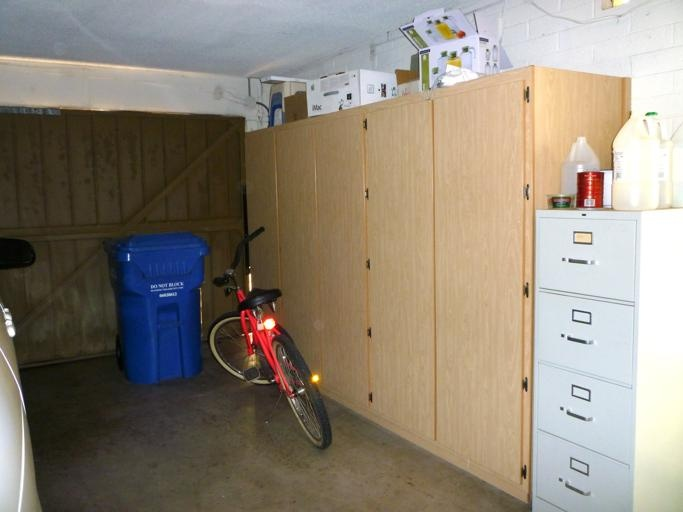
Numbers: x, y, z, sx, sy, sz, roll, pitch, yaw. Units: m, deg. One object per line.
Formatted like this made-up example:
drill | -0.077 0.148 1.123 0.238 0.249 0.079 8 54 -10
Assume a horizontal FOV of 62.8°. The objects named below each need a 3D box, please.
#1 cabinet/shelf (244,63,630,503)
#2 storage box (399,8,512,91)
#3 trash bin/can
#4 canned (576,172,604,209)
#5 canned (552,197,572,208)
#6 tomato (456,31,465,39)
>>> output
cabinet/shelf | 0.633 0.225 3.562 0.859 2.271 2.740 -5 8 -36
storage box | 0.816 -1.348 3.790 0.514 0.493 0.649 3 12 38
trash bin/can | -1.575 0.500 5.045 0.754 1.259 0.325 -4 13 -10
canned | 1.324 -0.352 2.948 0.156 0.186 0.114 -1 13 2
canned | 1.171 -0.288 2.986 0.063 0.047 0.073 2 4 16
tomato | 0.780 -1.450 3.654 0.058 0.059 0.060 1 11 18
